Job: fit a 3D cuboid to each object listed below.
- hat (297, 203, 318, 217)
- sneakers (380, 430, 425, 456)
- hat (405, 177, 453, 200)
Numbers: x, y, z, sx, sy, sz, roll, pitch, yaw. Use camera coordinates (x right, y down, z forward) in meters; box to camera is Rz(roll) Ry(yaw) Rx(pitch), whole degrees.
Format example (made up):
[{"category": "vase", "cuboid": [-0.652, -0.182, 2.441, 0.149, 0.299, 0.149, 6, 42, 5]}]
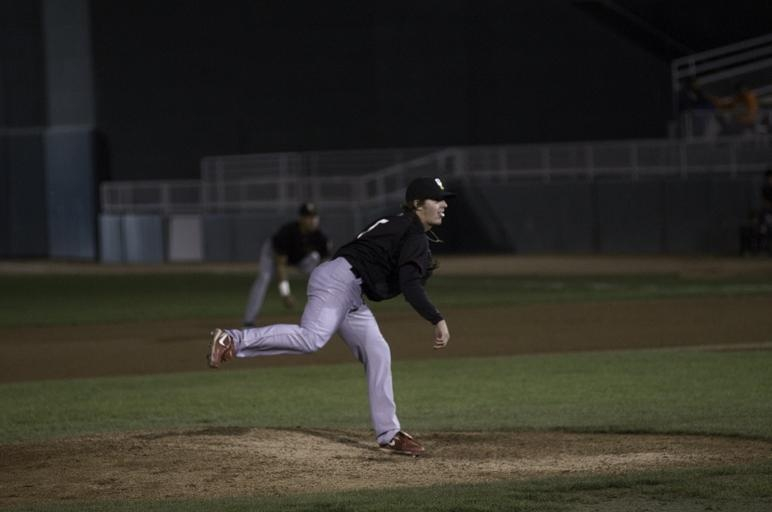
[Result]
[{"category": "hat", "cuboid": [-1.243, -0.800, 23.054, 0.328, 0.230, 0.322, -1, -3, -3]}, {"category": "sneakers", "cuboid": [0.213, 2.303, 17.851, 0.559, 0.237, 0.258, -1, 1, 25]}, {"category": "hat", "cuboid": [0.513, -0.811, 17.860, 0.434, 0.219, 0.315, -4, 3, 15]}]
